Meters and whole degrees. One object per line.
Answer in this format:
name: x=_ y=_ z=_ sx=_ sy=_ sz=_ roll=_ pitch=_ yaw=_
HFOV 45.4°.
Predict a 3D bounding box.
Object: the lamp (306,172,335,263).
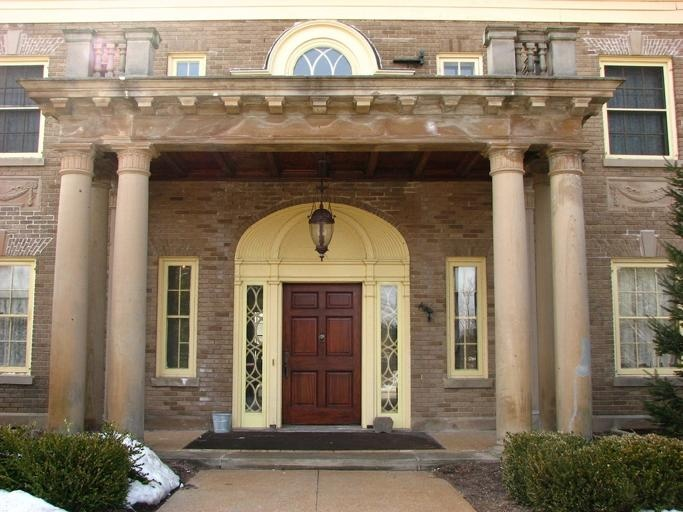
lamp: x=-0.367 y=-0.682 z=15.424 sx=0.481 sy=1.622 sz=0.970 roll=0 pitch=6 yaw=-1
